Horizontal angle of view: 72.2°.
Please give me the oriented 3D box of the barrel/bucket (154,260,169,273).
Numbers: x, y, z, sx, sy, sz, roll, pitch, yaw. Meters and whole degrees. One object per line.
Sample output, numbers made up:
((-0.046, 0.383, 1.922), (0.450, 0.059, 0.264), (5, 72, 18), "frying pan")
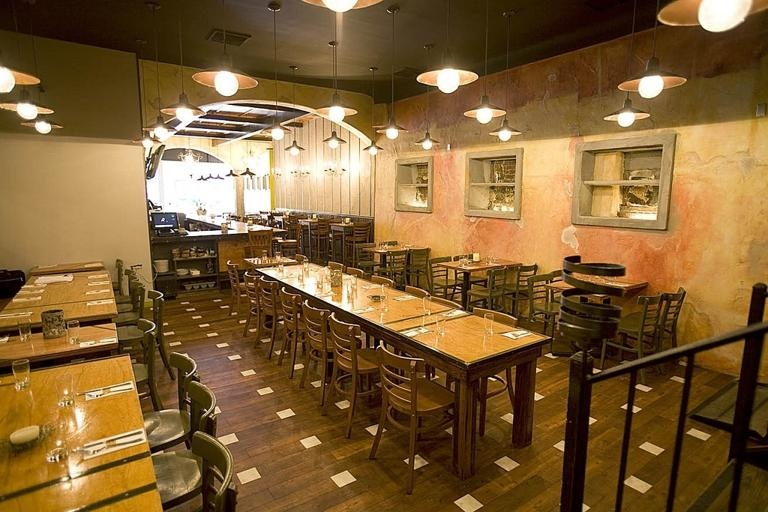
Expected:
((-4.387, 0.201, 10.386), (0.245, 0.180, 0.229), (0, 0, 0), "barrel/bucket")

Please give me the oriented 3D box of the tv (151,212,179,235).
((-4.638, -0.685, 11.069), (0.232, 0.457, 0.556), (0, 0, 44), "tv")
